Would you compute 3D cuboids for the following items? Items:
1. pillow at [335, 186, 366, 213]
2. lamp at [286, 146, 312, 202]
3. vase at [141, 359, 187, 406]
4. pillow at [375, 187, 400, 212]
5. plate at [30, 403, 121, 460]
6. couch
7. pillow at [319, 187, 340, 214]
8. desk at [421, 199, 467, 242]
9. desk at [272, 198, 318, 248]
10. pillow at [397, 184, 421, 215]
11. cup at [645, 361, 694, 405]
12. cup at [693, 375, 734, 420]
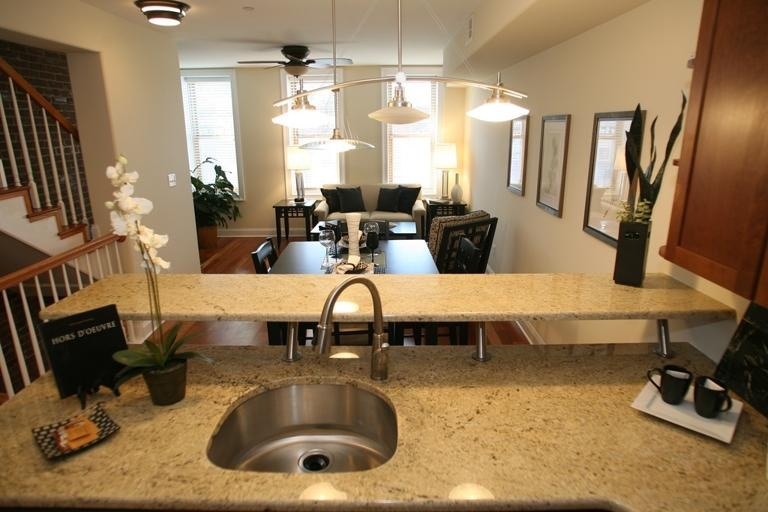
[{"bbox_3d":[-0.494,-0.860,7.743,0.447,0.376,0.432,-5,16,-12],"label":"pillow"},{"bbox_3d":[-1.314,-1.267,7.851,0.398,0.813,0.384,-9,13,-39],"label":"lamp"},{"bbox_3d":[-0.950,0.561,2.199,0.193,0.142,0.197,-6,4,-13],"label":"vase"},{"bbox_3d":[0.067,-0.876,7.782,0.419,0.421,0.176,6,-7,16],"label":"pillow"},{"bbox_3d":[-1.198,0.693,1.975,0.235,0.045,0.266,-18,21,-39],"label":"plate"},{"bbox_3d":[-0.226,-0.671,7.836,1.695,0.799,0.684,-1,19,-2],"label":"couch"},{"bbox_3d":[-0.815,-0.857,7.793,0.156,0.355,0.386,-11,1,25],"label":"pillow"},{"bbox_3d":[0.987,-0.575,7.497,0.602,0.377,0.551,0,5,18],"label":"desk"},{"bbox_3d":[-1.412,-0.629,7.995,0.869,0.787,0.893,-1,22,-5],"label":"desk"},{"bbox_3d":[0.380,-0.863,7.776,0.455,0.383,0.138,14,-1,19],"label":"pillow"},{"bbox_3d":[1.210,0.547,2.142,0.172,0.116,0.130,12,16,30],"label":"cup"},{"bbox_3d":[1.328,0.584,2.091,0.128,0.126,0.183,2,11,8],"label":"cup"}]
